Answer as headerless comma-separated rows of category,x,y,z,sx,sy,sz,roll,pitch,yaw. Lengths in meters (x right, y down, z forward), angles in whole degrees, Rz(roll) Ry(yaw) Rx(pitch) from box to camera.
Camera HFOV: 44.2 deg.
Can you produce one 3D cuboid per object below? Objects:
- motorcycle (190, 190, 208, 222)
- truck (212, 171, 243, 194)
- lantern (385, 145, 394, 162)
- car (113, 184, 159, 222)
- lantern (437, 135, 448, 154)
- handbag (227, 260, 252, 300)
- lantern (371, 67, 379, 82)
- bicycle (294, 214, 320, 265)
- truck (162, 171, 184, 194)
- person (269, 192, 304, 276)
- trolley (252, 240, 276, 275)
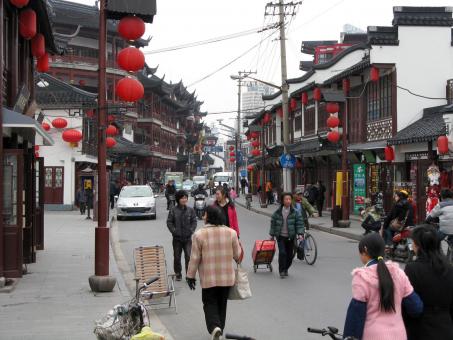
motorcycle,-1.375,1.620,27.037,0.650,1.021,1.495,0,-1,-3
truck,-0.303,1.062,66.319,1.820,2.175,3.501,-1,-8,17
lantern,6.674,-0.693,22.872,0.349,0.579,0.480,0,-3,17
car,-4.508,1.625,27.541,1.353,1.379,3.454,0,-2,-9
lantern,7.457,-0.897,19.216,0.347,0.606,0.362,-1,-3,20
handbag,0.219,1.868,9.360,0.413,0.625,0.339,-1,4,-18
lantern,6.330,-4.097,23.786,0.289,0.562,0.291,0,-3,11
bicycle,2.238,2.114,15.455,0.559,0.893,1.278,0,-5,-13
truck,-5.419,0.763,54.832,1.915,2.822,4.508,0,-3,-3
person,1.435,1.490,13.698,0.622,2.143,0.826,0,-1,-2
trolley,0.924,2.129,14.343,0.692,0.963,0.542,0,3,-39
